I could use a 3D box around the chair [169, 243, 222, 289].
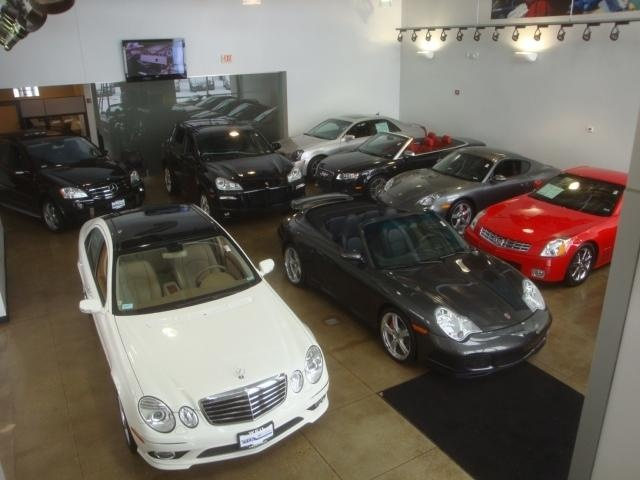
[{"bbox_3d":[-1.415,0.389,4.981,0.433,0.499,0.587,-10,67,-22],"label":"chair"}]

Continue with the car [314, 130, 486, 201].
[{"bbox_3d":[1.835,-1.870,10.451,3.698,1.115,1.632,-13,27,-17],"label":"car"}]

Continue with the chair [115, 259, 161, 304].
[{"bbox_3d":[-1.971,0.487,4.712,0.407,0.464,0.551,2,2,-20],"label":"chair"}]

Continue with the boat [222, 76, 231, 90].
[{"bbox_3d":[-2.597,-4.101,11.796,0.191,0.317,0.088,-10,16,-22],"label":"boat"}]

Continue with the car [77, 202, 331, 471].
[{"bbox_3d":[-1.367,1.003,4.621,1.916,1.663,2.679,-17,29,-32],"label":"car"}]

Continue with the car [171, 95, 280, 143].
[{"bbox_3d":[-2.394,-3.120,12.033,2.523,0.846,1.098,-3,27,-26],"label":"car"}]

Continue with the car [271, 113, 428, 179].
[{"bbox_3d":[0.936,-2.273,12.157,4.086,1.362,1.804,-11,25,-22],"label":"car"}]

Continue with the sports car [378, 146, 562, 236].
[{"bbox_3d":[3.147,-1.160,8.917,3.652,1.115,1.708,-16,31,-21],"label":"sports car"}]

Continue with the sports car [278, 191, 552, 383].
[{"bbox_3d":[0.996,0.368,5.846,1.802,1.200,3.670,-22,38,-31],"label":"sports car"}]

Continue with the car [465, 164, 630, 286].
[{"bbox_3d":[4.083,0.001,7.256,3.511,1.062,1.535,-20,33,-32],"label":"car"}]

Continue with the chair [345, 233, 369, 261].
[{"bbox_3d":[0.519,0.162,5.739,0.243,0.317,0.325,-22,4,-10],"label":"chair"}]
